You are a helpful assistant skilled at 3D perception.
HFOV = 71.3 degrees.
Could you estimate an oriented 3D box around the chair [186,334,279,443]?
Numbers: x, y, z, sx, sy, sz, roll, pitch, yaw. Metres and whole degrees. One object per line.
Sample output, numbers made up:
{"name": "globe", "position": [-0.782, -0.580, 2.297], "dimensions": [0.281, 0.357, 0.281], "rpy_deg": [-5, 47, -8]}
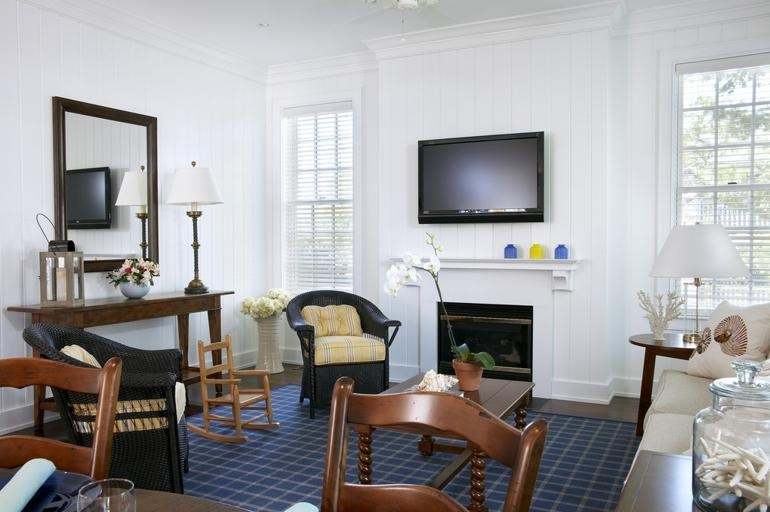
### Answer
{"name": "chair", "position": [-1.284, 1.121, 4.534], "dimensions": [0.661, 0.778, 0.530], "rpy_deg": [1, 0, 26]}

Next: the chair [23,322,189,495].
{"name": "chair", "position": [-1.766, 0.985, 3.522], "dimensions": [0.886, 1.112, 0.986], "rpy_deg": [-1, 1, -15]}

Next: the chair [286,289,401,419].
{"name": "chair", "position": [-0.449, 0.909, 5.226], "dimensions": [1.122, 1.100, 1.149], "rpy_deg": [-1, -2, 19]}

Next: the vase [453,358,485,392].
{"name": "vase", "position": [0.598, 0.853, 3.879], "dimensions": [0.223, 0.174, 0.213], "rpy_deg": [0, -4, 0]}

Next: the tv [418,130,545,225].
{"name": "tv", "position": [1.042, -0.813, 5.525], "dimensions": [1.070, 0.691, 0.126], "rpy_deg": [0, -1, 20]}

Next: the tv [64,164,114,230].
{"name": "tv", "position": [-2.859, -0.526, 5.043], "dimensions": [0.612, 0.568, 0.059], "rpy_deg": [-1, 2, 11]}

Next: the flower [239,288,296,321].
{"name": "flower", "position": [-1.345, 0.437, 6.164], "dimensions": [0.387, 0.287, 0.499], "rpy_deg": [15, 29, 39]}

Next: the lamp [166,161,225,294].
{"name": "lamp", "position": [-2.021, -0.321, 5.611], "dimensions": [0.512, 1.381, 0.660], "rpy_deg": [-2, 2, -31]}

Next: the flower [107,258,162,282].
{"name": "flower", "position": [-2.416, 0.157, 5.072], "dimensions": [0.286, 0.156, 0.288], "rpy_deg": [-2, -3, 28]}

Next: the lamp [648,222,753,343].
{"name": "lamp", "position": [2.348, 0.191, 4.044], "dimensions": [0.663, 0.948, 0.626], "rpy_deg": [0, 4, 34]}

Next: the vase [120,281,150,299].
{"name": "vase", "position": [-2.349, 0.323, 5.077], "dimensions": [0.186, 0.102, 0.182], "rpy_deg": [0, -6, 2]}
